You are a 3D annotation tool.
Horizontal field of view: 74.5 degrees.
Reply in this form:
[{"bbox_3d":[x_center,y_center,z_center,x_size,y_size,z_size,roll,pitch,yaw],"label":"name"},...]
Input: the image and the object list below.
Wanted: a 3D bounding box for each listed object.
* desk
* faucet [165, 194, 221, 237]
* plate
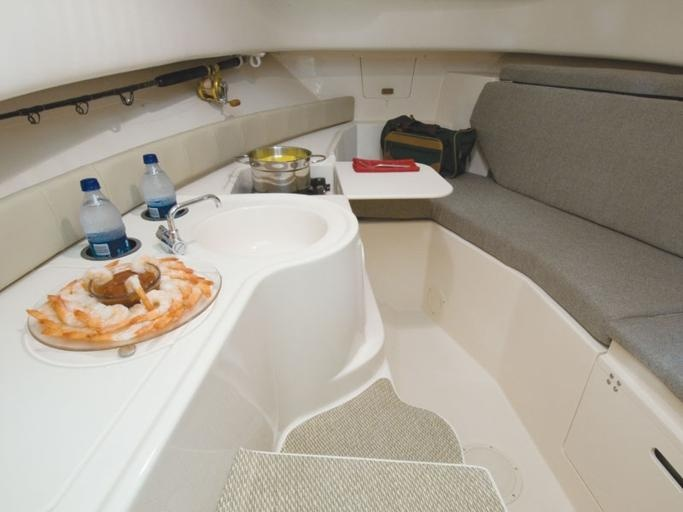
[{"bbox_3d":[0.219,-0.411,2.118,0.523,0.205,0.579,3,19,-2],"label":"desk"},{"bbox_3d":[-0.423,-0.086,1.336,0.157,0.149,0.174,3,23,-12],"label":"faucet"},{"bbox_3d":[-0.473,0.097,1.007,0.417,0.084,0.237,-22,46,-26],"label":"plate"}]
